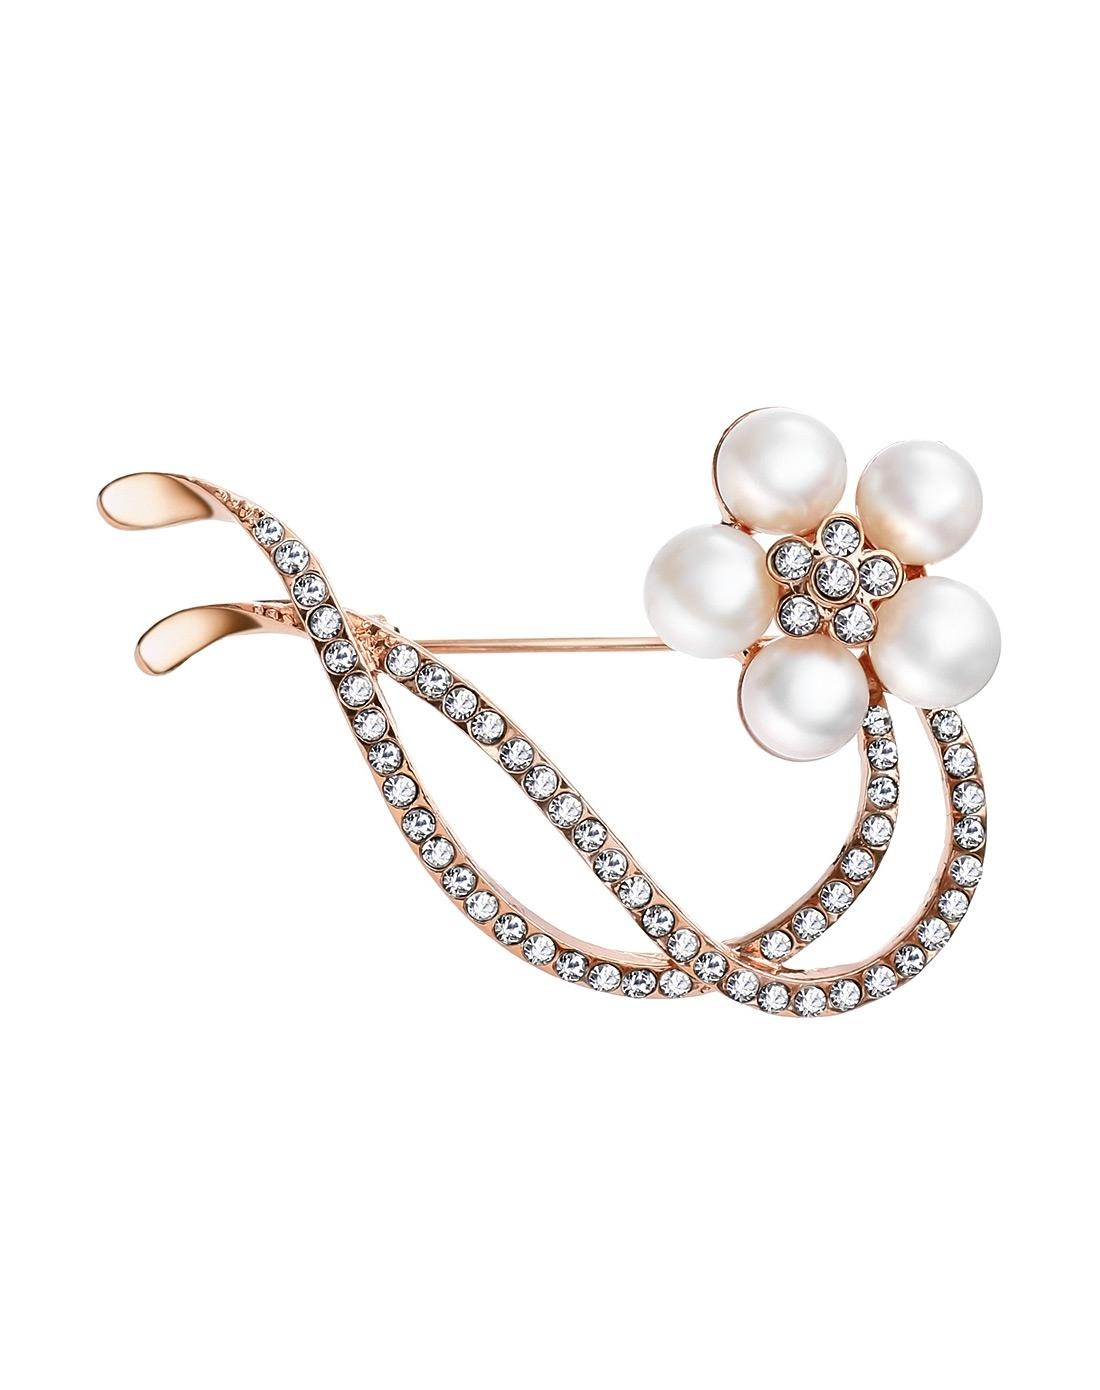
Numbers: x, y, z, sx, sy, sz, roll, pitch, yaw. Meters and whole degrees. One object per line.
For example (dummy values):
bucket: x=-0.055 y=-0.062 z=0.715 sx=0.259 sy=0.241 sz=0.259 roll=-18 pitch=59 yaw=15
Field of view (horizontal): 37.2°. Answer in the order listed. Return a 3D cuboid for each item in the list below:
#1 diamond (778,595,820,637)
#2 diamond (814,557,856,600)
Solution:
diamond: x=0.420 y=-0.133 z=2.763 sx=0.083 sy=0.022 sz=0.064 roll=1 pitch=-91 yaw=3
diamond: x=0.477 y=-0.195 z=2.749 sx=0.081 sy=0.017 sz=0.062 roll=0 pitch=-89 yaw=0
